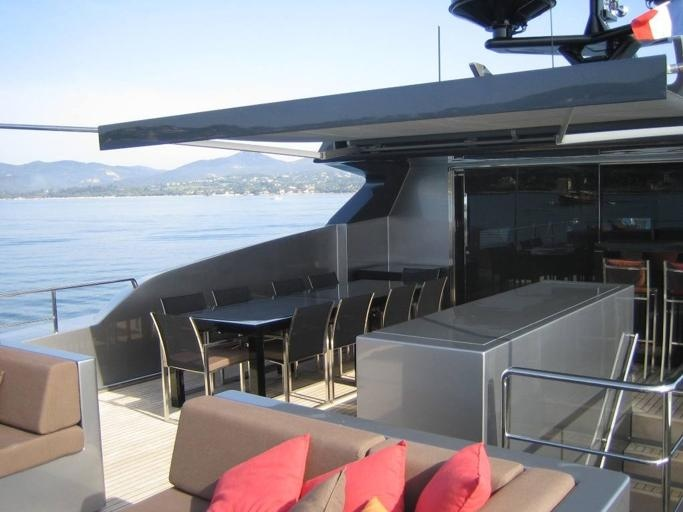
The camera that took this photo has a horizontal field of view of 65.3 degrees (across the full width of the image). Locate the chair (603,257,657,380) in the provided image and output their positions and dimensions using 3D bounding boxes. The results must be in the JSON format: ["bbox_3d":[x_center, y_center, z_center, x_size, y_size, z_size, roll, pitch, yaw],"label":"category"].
[{"bbox_3d":[3.518,0.552,6.676,0.548,1.173,0.521,4,20,36],"label":"chair"}]
